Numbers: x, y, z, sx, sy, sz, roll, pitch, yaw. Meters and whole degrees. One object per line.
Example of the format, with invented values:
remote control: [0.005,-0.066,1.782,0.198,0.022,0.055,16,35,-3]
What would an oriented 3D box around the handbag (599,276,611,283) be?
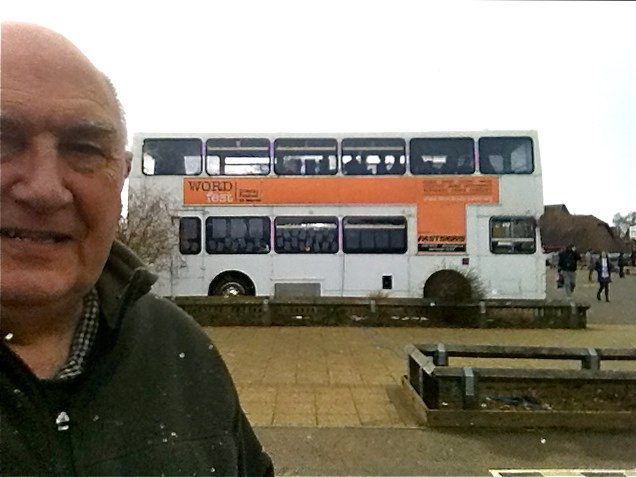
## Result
handbag: [6.838,0.993,16.608,0.160,0.152,0.126,-6,-16,35]

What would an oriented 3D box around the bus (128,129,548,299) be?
bus: [0.468,-0.446,13.373,7.626,3.137,0.931,0,9,2]
